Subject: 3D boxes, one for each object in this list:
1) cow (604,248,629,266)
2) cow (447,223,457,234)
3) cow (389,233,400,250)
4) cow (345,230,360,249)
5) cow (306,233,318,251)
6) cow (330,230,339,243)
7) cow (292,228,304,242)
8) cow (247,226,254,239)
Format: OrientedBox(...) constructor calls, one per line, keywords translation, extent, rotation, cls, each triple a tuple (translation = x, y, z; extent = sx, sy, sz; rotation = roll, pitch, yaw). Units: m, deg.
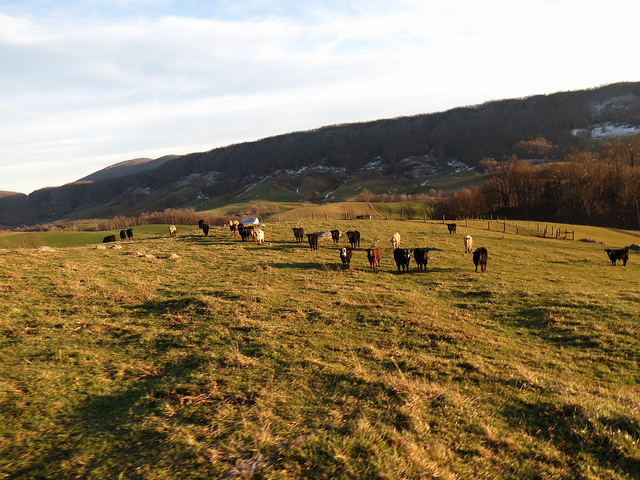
OrientedBox(translation=(25.958, 1.488, 50.097), extent=(1.400, 1.353, 2.003), rotation=(6, 12, 8), cls="cow")
OrientedBox(translation=(15.089, -1.243, 65.651), extent=(0.827, 0.943, 2.123), rotation=(7, 12, 9), cls="cow")
OrientedBox(translation=(6.836, 0.185, 52.087), extent=(0.581, 1.297, 2.312), rotation=(7, 12, 10), cls="cow")
OrientedBox(translation=(3.056, -0.014, 51.899), extent=(1.101, 1.463, 1.509), rotation=(6, 12, 6), cls="cow")
OrientedBox(translation=(-0.600, 0.210, 49.918), extent=(0.777, 1.315, 1.984), rotation=(4, 12, -4), cls="cow")
OrientedBox(translation=(1.445, -0.300, 54.055), extent=(0.580, 1.266, 1.072), rotation=(4, 12, -3), cls="cow")
OrientedBox(translation=(-2.037, -0.479, 54.703), extent=(0.857, 1.090, 1.702), rotation=(4, 12, -3), cls="cow")
OrientedBox(translation=(-6.682, -0.553, 55.084), extent=(0.536, 1.097, 1.862), rotation=(4, 11, -7), cls="cow")
